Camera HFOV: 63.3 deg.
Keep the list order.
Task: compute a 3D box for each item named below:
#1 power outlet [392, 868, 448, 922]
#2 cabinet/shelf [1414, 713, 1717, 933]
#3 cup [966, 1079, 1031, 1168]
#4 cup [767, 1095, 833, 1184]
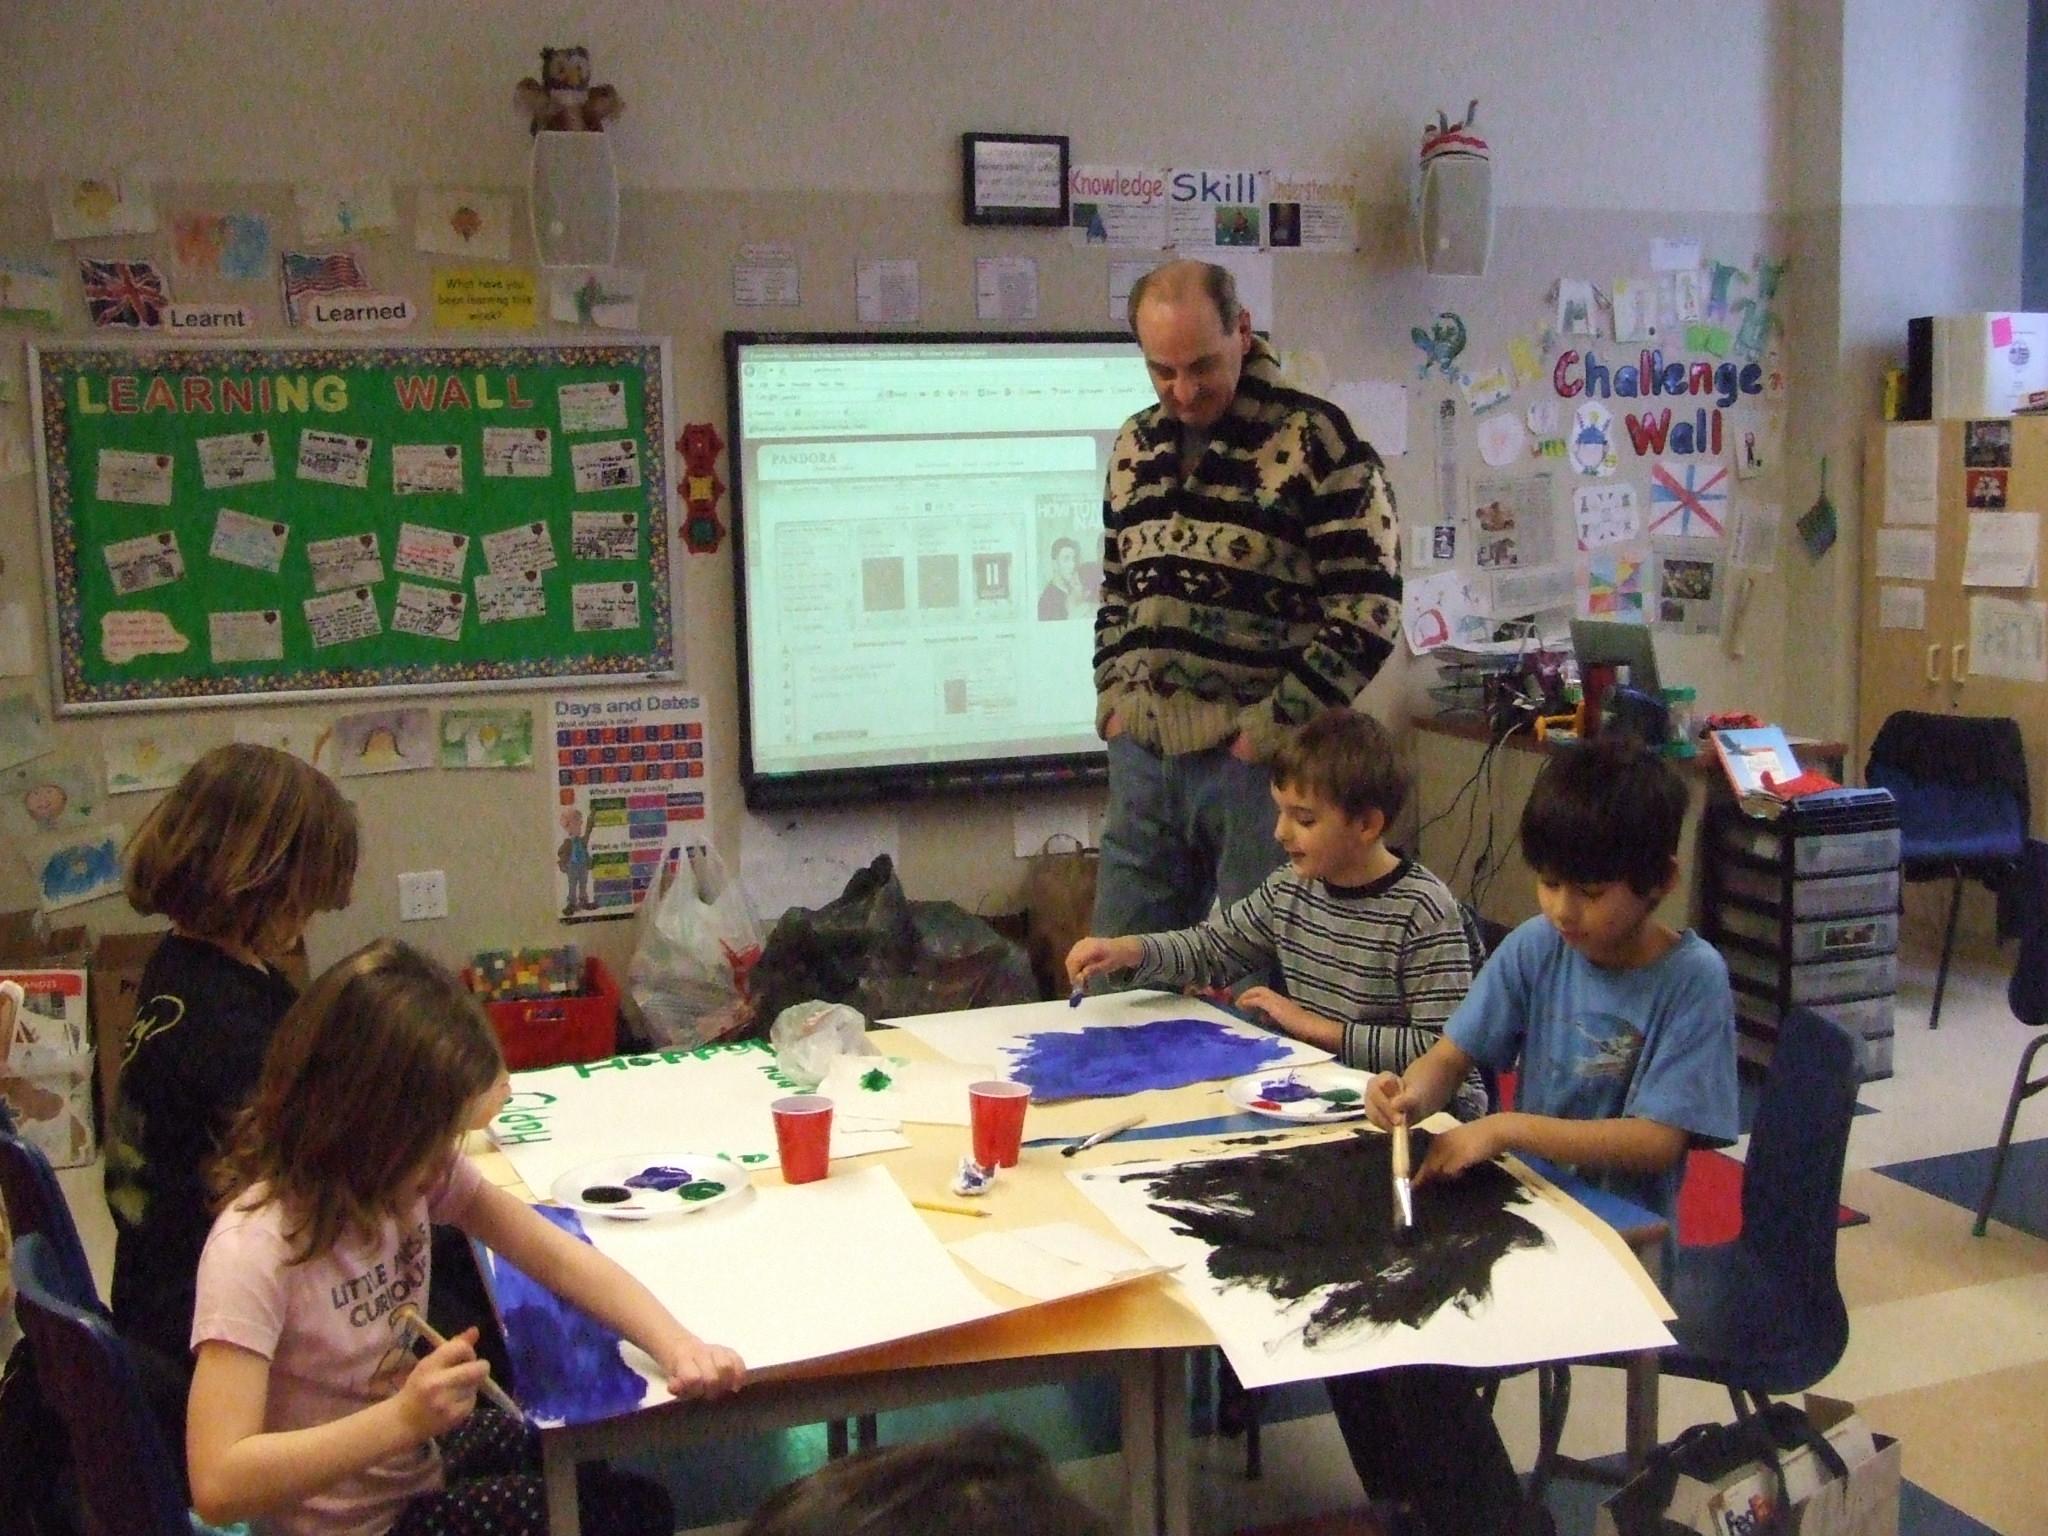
[{"bbox_3d":[-1.658,0.335,4.531,0.125,0.154,0.015,-2,6,-25],"label":"power outlet"},{"bbox_3d":[1.193,0.106,3.606,0.269,0.522,0.516,-6,13,-26],"label":"cabinet/shelf"},{"bbox_3d":[-0.035,0.460,2.160,0.084,0.102,0.090,0,2,0],"label":"cup"},{"bbox_3d":[-0.281,0.473,2.111,0.085,0.107,0.093,-3,-2,0],"label":"cup"}]
